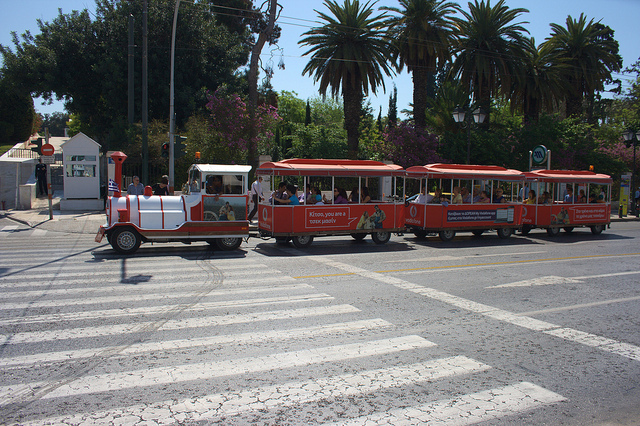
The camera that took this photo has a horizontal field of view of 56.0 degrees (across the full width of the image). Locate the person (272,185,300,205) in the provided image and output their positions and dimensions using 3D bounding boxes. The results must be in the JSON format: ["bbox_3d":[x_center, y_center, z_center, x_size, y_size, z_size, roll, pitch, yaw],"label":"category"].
[{"bbox_3d":[-1.375,-0.776,24.480,0.861,0.889,0.673,13,-9,3],"label":"person"}]

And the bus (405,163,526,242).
[{"bbox_3d":[6.966,-0.520,28.936,5.995,3.811,2.361,-1,4,-24],"label":"bus"}]

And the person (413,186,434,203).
[{"bbox_3d":[4.678,-1.021,27.428,1.019,1.022,0.609,3,0,-7],"label":"person"}]

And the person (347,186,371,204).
[{"bbox_3d":[1.641,-0.732,25.877,0.992,1.020,0.597,1,-5,-10],"label":"person"}]
